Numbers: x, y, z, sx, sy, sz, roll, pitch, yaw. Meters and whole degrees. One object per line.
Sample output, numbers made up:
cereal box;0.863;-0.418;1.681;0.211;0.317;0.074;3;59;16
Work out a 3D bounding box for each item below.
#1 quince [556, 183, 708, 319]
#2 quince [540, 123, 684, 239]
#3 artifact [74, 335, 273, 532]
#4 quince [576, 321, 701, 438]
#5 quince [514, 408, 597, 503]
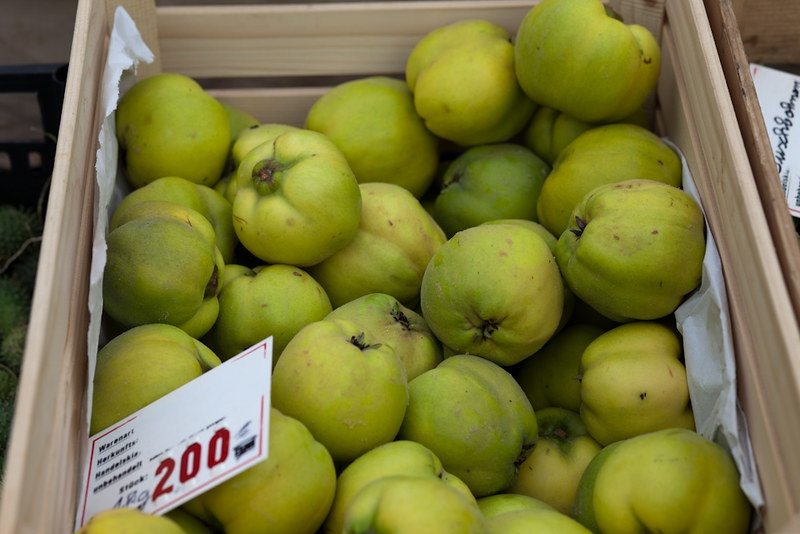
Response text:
quince;0.609;-0.074;1.998;0.319;0.341;0.315;17;24;20
quince;0.589;-0.277;2.118;0.296;0.292;0.330;12;85;30
artifact;-0.469;0.382;1.636;0.496;0.162;0.262;-21;63;-15
quince;0.555;0.269;1.897;0.230;0.250;0.288;-8;95;-3
quince;0.406;0.503;1.995;0.220;0.254;0.252;0;41;11
